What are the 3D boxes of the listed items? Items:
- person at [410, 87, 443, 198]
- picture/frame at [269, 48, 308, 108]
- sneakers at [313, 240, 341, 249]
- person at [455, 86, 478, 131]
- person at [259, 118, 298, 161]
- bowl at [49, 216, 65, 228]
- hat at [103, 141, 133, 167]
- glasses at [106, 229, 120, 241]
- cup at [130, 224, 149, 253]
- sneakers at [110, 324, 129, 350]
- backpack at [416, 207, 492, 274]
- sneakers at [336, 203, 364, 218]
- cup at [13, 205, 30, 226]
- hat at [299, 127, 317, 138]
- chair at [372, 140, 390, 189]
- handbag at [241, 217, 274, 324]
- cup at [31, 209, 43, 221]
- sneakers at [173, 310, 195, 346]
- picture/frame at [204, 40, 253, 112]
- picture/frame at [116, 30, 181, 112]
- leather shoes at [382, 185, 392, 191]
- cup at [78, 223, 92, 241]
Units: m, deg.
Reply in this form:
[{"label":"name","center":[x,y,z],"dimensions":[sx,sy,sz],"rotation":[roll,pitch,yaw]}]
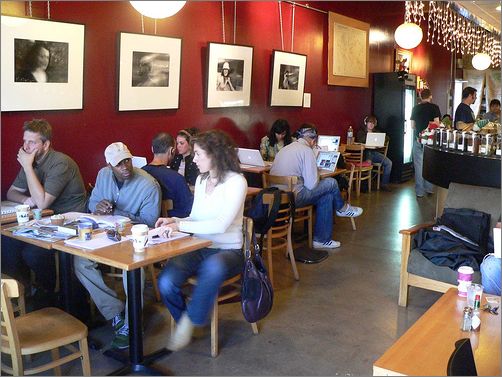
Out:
[{"label":"person","center":[3.445,-0.931,7.993],"dimensions":[0.569,2.080,1.270],"rotation":[5,13,24]},{"label":"picture/frame","center":[0.609,-1.908,6.831],"dimensions":[0.098,0.909,1.021],"rotation":[10,14,34]},{"label":"sneakers","center":[0.990,0.724,5.243],"dimensions":[0.339,0.153,0.127],"rotation":[-4,5,-3]},{"label":"person","center":[3.953,-1.490,7.359],"dimensions":[0.325,0.750,0.755],"rotation":[7,14,29]},{"label":"person","center":[0.397,-0.795,6.447],"dimensions":[0.676,0.912,0.588],"rotation":[1,42,1]},{"label":"bowl","center":[-1.445,0.242,2.988],"dimensions":[0.071,0.065,0.073],"rotation":[4,5,0]},{"label":"hat","center":[-1.079,-0.284,3.248],"dimensions":[0.156,0.129,0.220],"rotation":[-26,24,-23]},{"label":"glasses","center":[-0.945,0.320,2.763],"dimensions":[0.091,0.089,0.067],"rotation":[5,8,28]},{"label":"cup","center":[-0.712,0.314,2.570],"dimensions":[0.146,0.189,0.152],"rotation":[3,2,0]},{"label":"sneakers","center":[-0.993,1.144,3.098],"dimensions":[0.102,0.125,0.283],"rotation":[2,-6,-9]},{"label":"backpack","center":[1.828,0.425,3.627],"dimensions":[0.577,0.387,0.706],"rotation":[11,17,40]},{"label":"sneakers","center":[1.386,0.312,5.603],"dimensions":[0.401,0.180,0.180],"rotation":[-4,30,4]},{"label":"cup","center":[-1.761,0.195,3.089],"dimensions":[0.127,0.134,0.125],"rotation":[1,2,0]},{"label":"hat","center":[0.728,-0.712,5.135],"dimensions":[0.138,0.170,0.126],"rotation":[10,11,-3]},{"label":"chair","center":[2.907,-0.543,8.796],"dimensions":[0.341,1.001,0.763],"rotation":[4,13,17]},{"label":"handbag","center":[0.046,0.717,3.140],"dimensions":[0.238,0.981,0.434],"rotation":[0,12,-1]},{"label":"cup","center":[-1.689,0.205,3.203],"dimensions":[0.076,0.089,0.079],"rotation":[3,4,0]},{"label":"sneakers","center":[-0.483,1.032,2.988],"dimensions":[0.143,0.266,0.257],"rotation":[1,3,3]},{"label":"picture/frame","center":[-0.348,-1.656,5.783],"dimensions":[0.101,0.928,1.036],"rotation":[12,15,37]},{"label":"picture/frame","center":[-1.253,-1.436,4.793],"dimensions":[0.077,1.044,1.005],"rotation":[8,11,40]},{"label":"leather shoes","center":[2.917,-0.045,8.629],"dimensions":[0.191,0.109,0.632],"rotation":[5,14,18]},{"label":"cup","center":[-1.143,0.294,2.792],"dimensions":[0.104,0.122,0.108],"rotation":[2,1,0]}]
